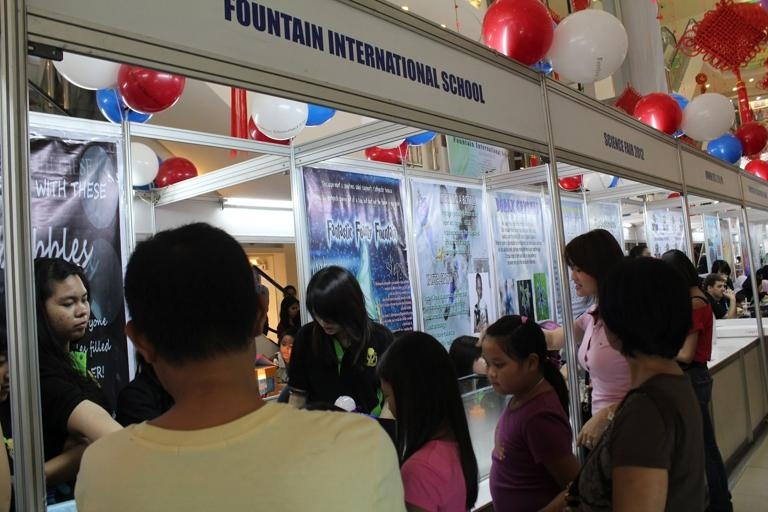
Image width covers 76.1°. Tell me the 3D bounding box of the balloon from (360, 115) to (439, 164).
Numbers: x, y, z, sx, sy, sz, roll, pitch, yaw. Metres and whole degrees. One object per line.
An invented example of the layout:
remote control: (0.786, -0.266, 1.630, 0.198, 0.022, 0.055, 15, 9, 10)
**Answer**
balloon: (0.127, -0.965, 4.644, 0.648, 0.281, 0.458, -33, 15, -19)

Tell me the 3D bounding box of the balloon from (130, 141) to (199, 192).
balloon: (-2.118, -0.815, 4.671, 0.473, 0.406, 0.763, 4, 6, -10)

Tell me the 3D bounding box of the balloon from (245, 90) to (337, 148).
balloon: (-0.640, -0.928, 3.325, 0.535, 0.268, 0.305, 4, 6, -14)

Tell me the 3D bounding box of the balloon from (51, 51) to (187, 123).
balloon: (-1.714, -1.050, 3.117, 0.634, 0.334, 1.291, 1, 8, -37)
